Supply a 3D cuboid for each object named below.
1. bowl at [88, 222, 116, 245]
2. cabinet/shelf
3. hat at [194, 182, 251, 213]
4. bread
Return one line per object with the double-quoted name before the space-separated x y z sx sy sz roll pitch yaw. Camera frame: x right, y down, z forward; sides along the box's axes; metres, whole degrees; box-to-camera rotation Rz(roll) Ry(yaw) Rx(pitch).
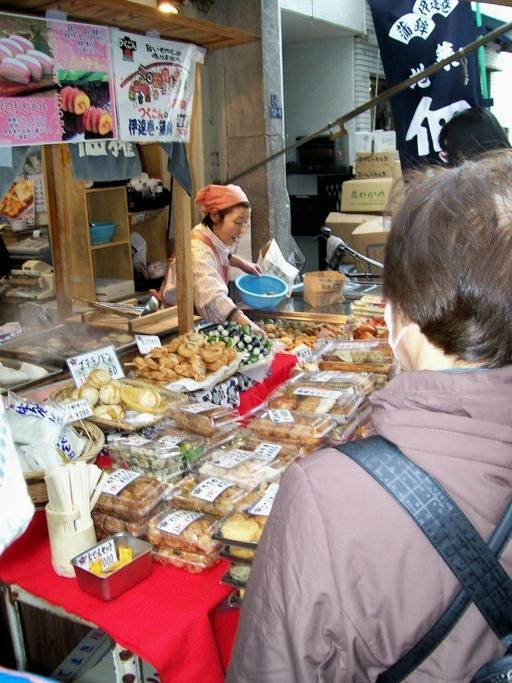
"bowl" -1.851 -1.268 5.570 0.291 0.180 0.289 -1 7 0
"cabinet/shelf" -2.037 -1.340 6.363 1.643 1.524 0.518 6 9 39
"hat" -0.282 -1.123 3.646 0.347 0.185 0.239 -1 19 2
"bread" -0.129 0.347 1.533 0.889 0.206 0.893 1 21 17
